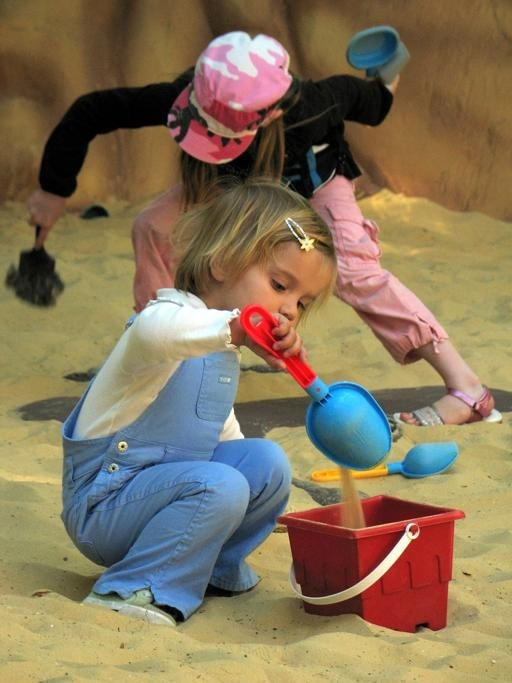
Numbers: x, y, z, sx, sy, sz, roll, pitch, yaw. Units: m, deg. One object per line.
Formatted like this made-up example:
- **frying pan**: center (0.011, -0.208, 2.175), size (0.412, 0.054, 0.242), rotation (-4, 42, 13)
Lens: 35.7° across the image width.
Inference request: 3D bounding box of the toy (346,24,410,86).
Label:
- **toy**: center (0.454, -1.060, 2.938), size (0.214, 0.111, 0.251), rotation (-17, -52, 20)

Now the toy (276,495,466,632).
- **toy**: center (0.227, 0.456, 1.710), size (0.349, 0.199, 0.311), rotation (-3, 2, -38)

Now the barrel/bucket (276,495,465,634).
- **barrel/bucket**: center (0.227, 0.455, 1.704), size (0.334, 0.190, 0.318), rotation (-2, 2, 0)

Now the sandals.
- **sandals**: center (0.738, 0.256, 2.985), size (0.456, 0.129, 0.151), rotation (0, -6, -7)

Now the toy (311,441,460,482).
- **toy**: center (0.425, 0.403, 2.689), size (0.642, 0.131, 0.169), rotation (-3, -21, 14)

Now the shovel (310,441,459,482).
- **shovel**: center (0.517, 0.415, 2.636), size (0.639, 0.131, 0.168), rotation (-3, -24, 15)

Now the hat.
- **hat**: center (-0.126, -0.709, 2.294), size (0.278, 0.341, 0.164), rotation (24, -34, -32)
